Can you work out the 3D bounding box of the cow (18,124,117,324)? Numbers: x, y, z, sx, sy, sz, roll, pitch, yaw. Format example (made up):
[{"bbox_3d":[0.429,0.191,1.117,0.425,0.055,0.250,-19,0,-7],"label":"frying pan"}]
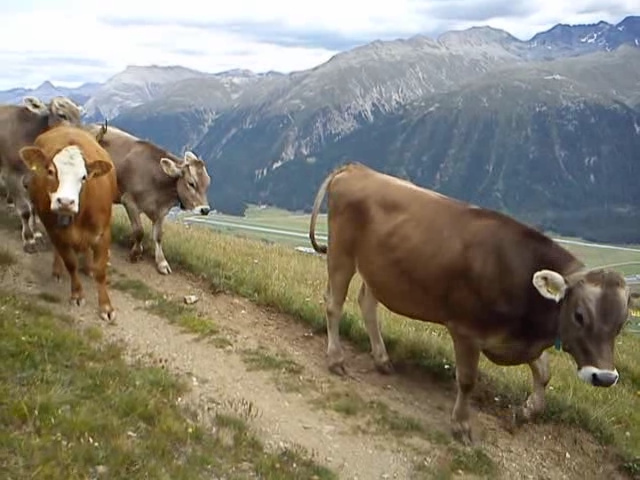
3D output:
[{"bbox_3d":[-4.990,-0.207,11.683,1.550,3.647,2.058,-4,15,-28],"label":"cow"}]

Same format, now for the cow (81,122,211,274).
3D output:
[{"bbox_3d":[-4.906,-1.111,15.324,5.048,3.464,1.486,18,12,29],"label":"cow"}]
